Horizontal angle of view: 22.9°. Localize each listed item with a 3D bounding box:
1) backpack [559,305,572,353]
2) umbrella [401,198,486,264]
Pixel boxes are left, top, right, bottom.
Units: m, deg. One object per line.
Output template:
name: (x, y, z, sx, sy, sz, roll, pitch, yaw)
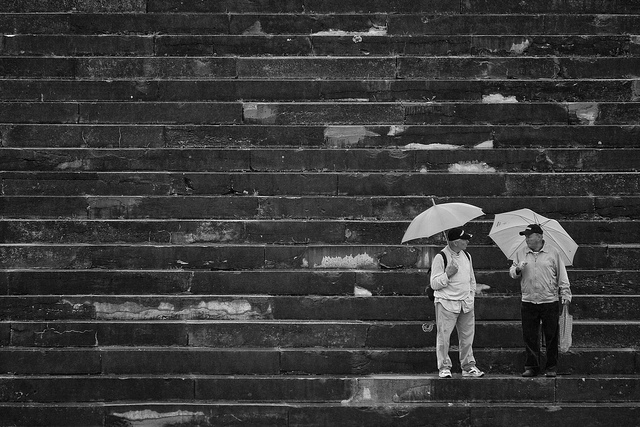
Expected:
backpack: (4.057, 1.892, 26.191, 0.194, 0.779, 0.214, -1, 1, 8)
umbrella: (2.060, 0.210, 26.217, 1.065, 0.906, 1.133, -4, 22, 38)
